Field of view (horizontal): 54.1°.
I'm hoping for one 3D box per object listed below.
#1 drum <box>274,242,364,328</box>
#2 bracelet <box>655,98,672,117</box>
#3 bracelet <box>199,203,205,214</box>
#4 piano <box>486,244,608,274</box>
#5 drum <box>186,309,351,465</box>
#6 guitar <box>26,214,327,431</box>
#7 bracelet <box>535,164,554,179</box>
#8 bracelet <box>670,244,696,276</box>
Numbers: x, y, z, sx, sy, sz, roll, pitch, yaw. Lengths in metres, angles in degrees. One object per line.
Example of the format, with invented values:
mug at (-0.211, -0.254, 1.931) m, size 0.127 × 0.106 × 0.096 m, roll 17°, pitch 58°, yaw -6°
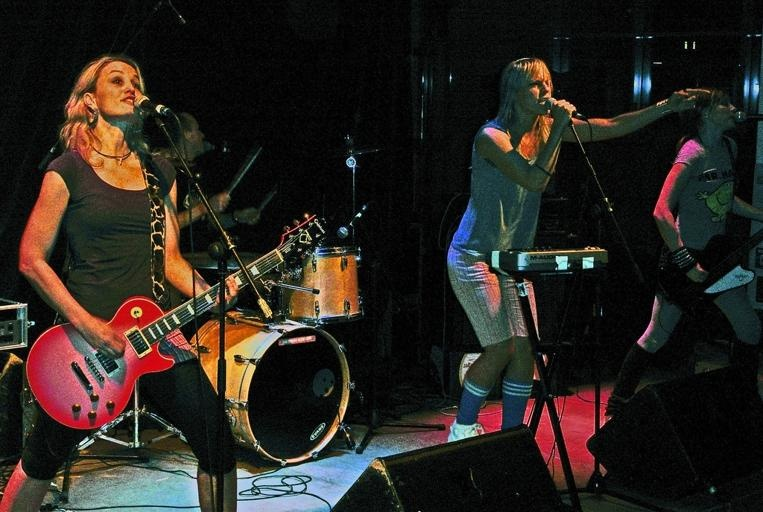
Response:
drum at (-0.467, 0.230, 5.382) m, size 0.634 × 0.476 × 0.634 m, roll -4°, pitch -3°, yaw 0°
bracelet at (1.685, -0.894, 4.484) m, size 0.077 × 0.102 × 0.103 m, roll 13°, pitch -7°, yaw 6°
bracelet at (-1.341, -0.358, 5.613) m, size 0.056 × 0.056 × 0.042 m, roll -9°, pitch 18°, yaw 6°
piano at (0.907, 0.027, 3.972) m, size 0.610 × 0.142 × 0.200 m, roll -2°, pitch 10°, yaw -1°
drum at (-0.763, 0.918, 5.341) m, size 1.114 × 0.960 × 0.917 m, roll -3°, pitch 6°, yaw -30°
guitar at (-1.205, 0.388, 4.279) m, size 0.192 × 0.550 × 1.727 m, roll -31°, pitch 2°, yaw 41°
bracelet at (0.909, -0.480, 4.183) m, size 0.054 × 0.072 × 0.073 m, roll -46°, pitch -9°, yaw 6°
bracelet at (2.132, 0.020, 5.289) m, size 0.149 × 0.190 × 0.081 m, roll -42°, pitch -10°, yaw 34°
